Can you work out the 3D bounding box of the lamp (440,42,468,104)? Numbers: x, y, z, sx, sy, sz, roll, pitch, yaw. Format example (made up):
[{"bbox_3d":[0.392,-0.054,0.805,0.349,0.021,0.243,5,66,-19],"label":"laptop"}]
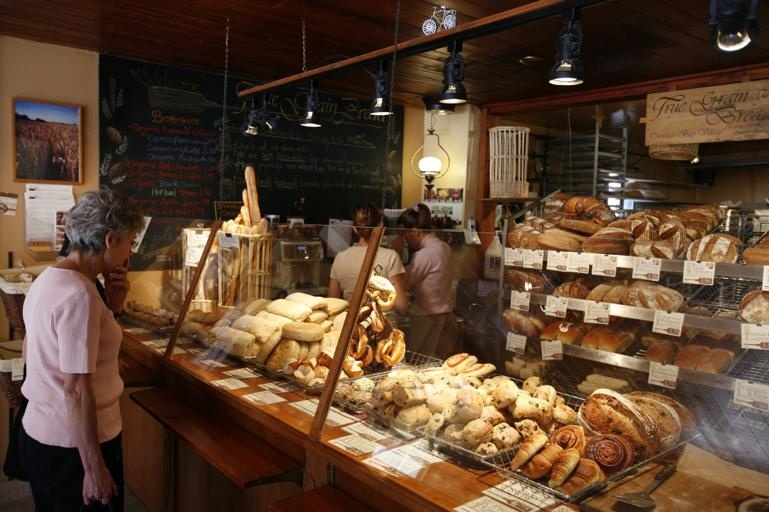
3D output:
[{"bbox_3d":[0.378,-1.007,2.826,0.135,0.306,0.273,1,8,5],"label":"lamp"}]

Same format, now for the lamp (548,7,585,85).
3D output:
[{"bbox_3d":[0.872,-1.005,2.426,0.145,0.339,0.273,3,8,19],"label":"lamp"}]

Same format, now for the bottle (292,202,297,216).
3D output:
[{"bbox_3d":[-1.028,-0.536,5.819,0.047,0.110,0.066,5,9,31],"label":"bottle"}]

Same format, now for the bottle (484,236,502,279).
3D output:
[{"bbox_3d":[0.493,0.004,2.306,0.080,0.188,0.131,2,8,13],"label":"bottle"}]

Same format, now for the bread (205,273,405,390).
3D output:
[{"bbox_3d":[-0.385,0.313,2.472,0.740,0.208,0.550,3,4,38],"label":"bread"}]

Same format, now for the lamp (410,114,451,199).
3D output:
[{"bbox_3d":[0.558,-1.305,6.487,0.525,1.134,0.708,-5,9,-30],"label":"lamp"}]

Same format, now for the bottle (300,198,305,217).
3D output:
[{"bbox_3d":[-0.952,-0.572,5.891,0.043,0.208,0.096,3,8,19],"label":"bottle"}]

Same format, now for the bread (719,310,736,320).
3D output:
[{"bbox_3d":[1.385,0.236,2.049,0.050,0.012,0.044,-7,14,2],"label":"bread"}]

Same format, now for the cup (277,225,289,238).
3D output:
[{"bbox_3d":[-0.533,-0.127,2.651,0.071,0.073,0.068,3,8,0],"label":"cup"}]

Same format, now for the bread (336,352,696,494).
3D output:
[{"bbox_3d":[0.480,0.629,1.924,0.774,0.099,0.506,1,0,43],"label":"bread"}]
